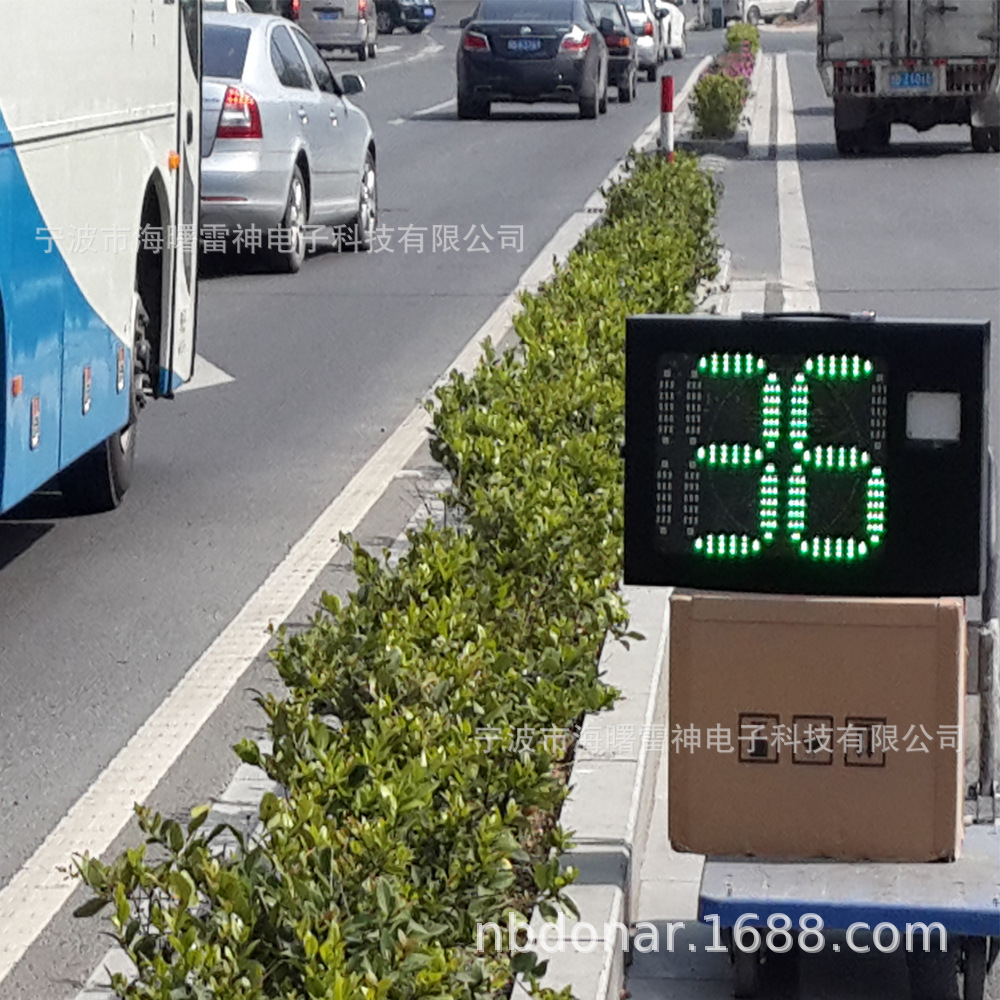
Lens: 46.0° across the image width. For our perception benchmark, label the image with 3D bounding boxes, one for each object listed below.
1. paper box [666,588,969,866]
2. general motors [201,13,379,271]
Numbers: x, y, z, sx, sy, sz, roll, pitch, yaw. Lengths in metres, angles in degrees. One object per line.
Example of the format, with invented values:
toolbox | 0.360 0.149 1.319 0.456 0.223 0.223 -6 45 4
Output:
paper box | 0.756 0.544 2.821 0.473 0.677 0.663 1 5 10
general motors | -2.566 -4.383 14.198 0.886 3.091 3.154 -1 12 21
